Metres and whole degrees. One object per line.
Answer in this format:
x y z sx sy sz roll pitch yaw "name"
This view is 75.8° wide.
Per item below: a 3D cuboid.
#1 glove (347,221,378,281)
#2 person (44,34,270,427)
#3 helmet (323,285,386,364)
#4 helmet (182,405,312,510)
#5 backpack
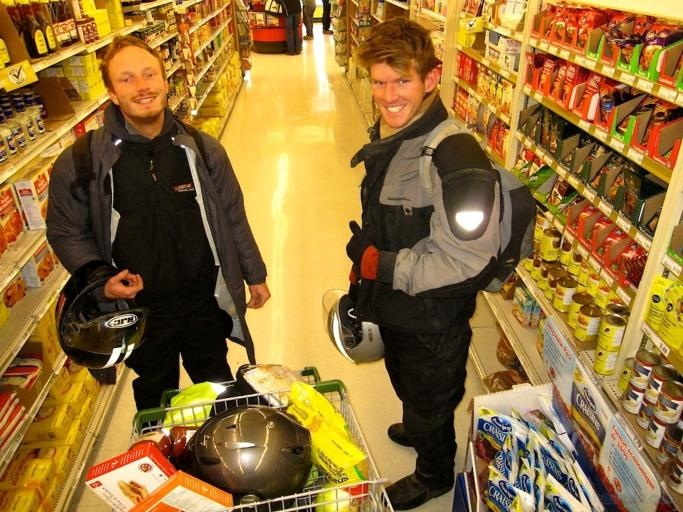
0.082 -0.012 1.899 0.121 0.246 0.302 -1 26 -5 "glove"
-0.943 -0.086 2.344 1.024 1.935 0.742 -16 29 -34 "person"
0.058 0.374 2.195 0.230 0.378 0.274 -33 2 -13 "helmet"
-0.287 0.522 1.278 0.323 0.272 0.275 -1 -2 -19 "helmet"
0.575 -0.180 1.860 0.499 0.735 0.345 11 26 19 "backpack"
